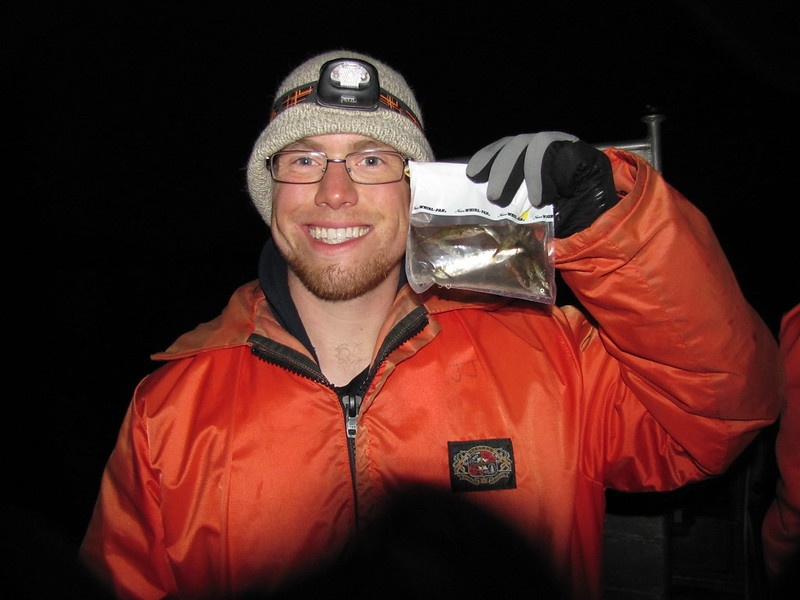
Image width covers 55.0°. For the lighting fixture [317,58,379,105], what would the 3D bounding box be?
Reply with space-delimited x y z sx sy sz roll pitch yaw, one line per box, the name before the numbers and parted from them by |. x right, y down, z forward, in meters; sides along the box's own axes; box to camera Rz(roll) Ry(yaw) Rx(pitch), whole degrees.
lighting fixture | -0.224 -0.907 3.345 0.235 0.212 0.188 -3 6 -31
